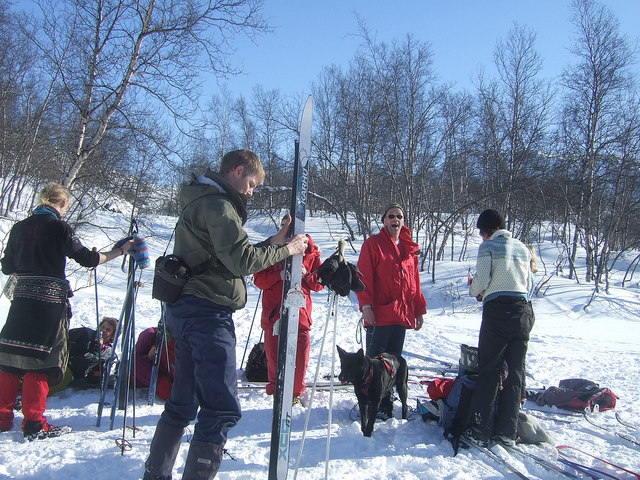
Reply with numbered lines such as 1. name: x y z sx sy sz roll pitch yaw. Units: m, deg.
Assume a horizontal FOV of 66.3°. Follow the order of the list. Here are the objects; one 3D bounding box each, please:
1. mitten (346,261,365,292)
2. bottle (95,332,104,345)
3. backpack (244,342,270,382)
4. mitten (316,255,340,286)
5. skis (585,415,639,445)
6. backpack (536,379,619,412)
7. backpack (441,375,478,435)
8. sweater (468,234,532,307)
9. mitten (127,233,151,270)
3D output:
1. mitten: 0.382 0.365 5.015 0.166 0.304 0.070 0 4 33
2. bottle: -2.629 1.167 5.832 0.060 0.248 0.058 0 8 0
3. backpack: -0.806 1.593 6.355 0.264 0.518 0.329 13 -11 -34
4. mitten: 0.079 0.290 4.929 0.104 0.287 0.208 23 10 -8
5. skis: 3.508 2.204 5.744 0.090 0.069 0.583 -37 19 -12
6. backpack: 3.276 1.955 6.182 0.571 0.210 0.505 0 -2 16
7. backpack: 1.569 1.853 5.431 0.258 0.562 0.387 21 -20 5
8. sweater: 2.108 0.320 5.590 0.629 0.829 0.490 1 -1 -8
9. mitten: -1.910 0.102 5.155 0.181 0.414 0.130 -1 16 9
